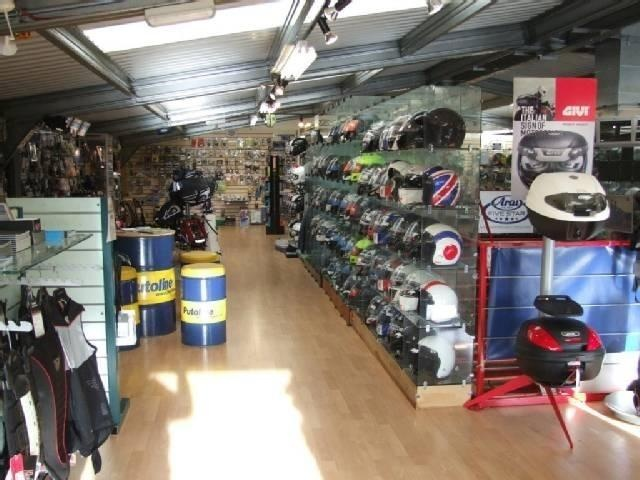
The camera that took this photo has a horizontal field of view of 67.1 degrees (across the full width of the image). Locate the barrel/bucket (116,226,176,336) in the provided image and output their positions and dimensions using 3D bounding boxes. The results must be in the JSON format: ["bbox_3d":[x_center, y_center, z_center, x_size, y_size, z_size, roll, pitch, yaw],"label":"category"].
[{"bbox_3d":[-2.314,0.562,6.119,0.884,1.165,0.827,-1,0,0],"label":"barrel/bucket"}]
